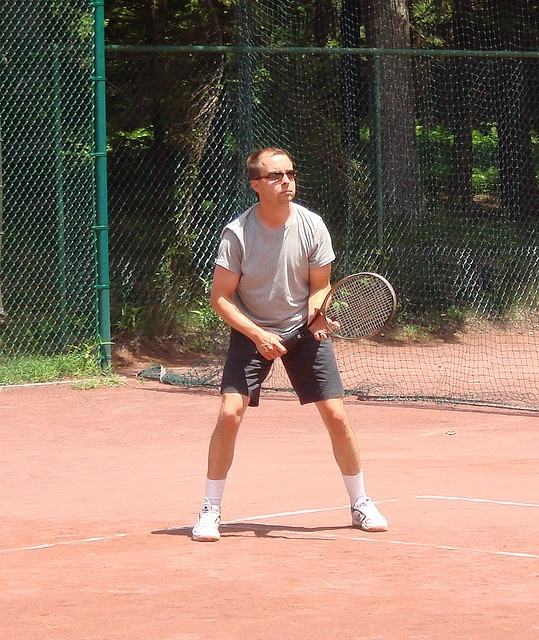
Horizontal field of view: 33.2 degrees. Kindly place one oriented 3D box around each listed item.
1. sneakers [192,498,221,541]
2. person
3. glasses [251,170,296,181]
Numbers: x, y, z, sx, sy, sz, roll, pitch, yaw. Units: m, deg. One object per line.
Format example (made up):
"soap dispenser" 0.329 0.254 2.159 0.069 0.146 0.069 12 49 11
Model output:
"sneakers" -0.283 0.895 4.029 0.121 0.158 0.180 2 8 -4
"person" 0.094 0.126 4.112 0.814 1.805 0.530 2 9 -5
"glasses" 0.003 -0.659 4.079 0.101 0.025 0.097 -2 -18 -37
